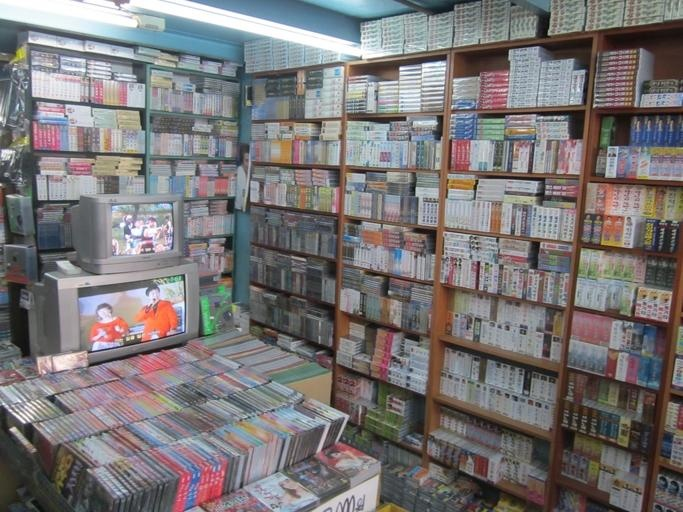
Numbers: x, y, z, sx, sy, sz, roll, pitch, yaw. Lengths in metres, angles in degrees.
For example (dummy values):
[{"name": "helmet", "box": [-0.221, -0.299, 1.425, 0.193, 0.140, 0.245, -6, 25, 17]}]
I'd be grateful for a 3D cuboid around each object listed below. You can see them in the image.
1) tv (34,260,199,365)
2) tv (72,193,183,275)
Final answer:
[{"name": "tv", "box": [-1.541, 0.351, 3.364, 0.712, 0.561, 1.019, 10, 9, 43]}, {"name": "tv", "box": [-1.544, -0.180, 3.568, 0.619, 0.473, 0.745, 10, 10, 40]}]
